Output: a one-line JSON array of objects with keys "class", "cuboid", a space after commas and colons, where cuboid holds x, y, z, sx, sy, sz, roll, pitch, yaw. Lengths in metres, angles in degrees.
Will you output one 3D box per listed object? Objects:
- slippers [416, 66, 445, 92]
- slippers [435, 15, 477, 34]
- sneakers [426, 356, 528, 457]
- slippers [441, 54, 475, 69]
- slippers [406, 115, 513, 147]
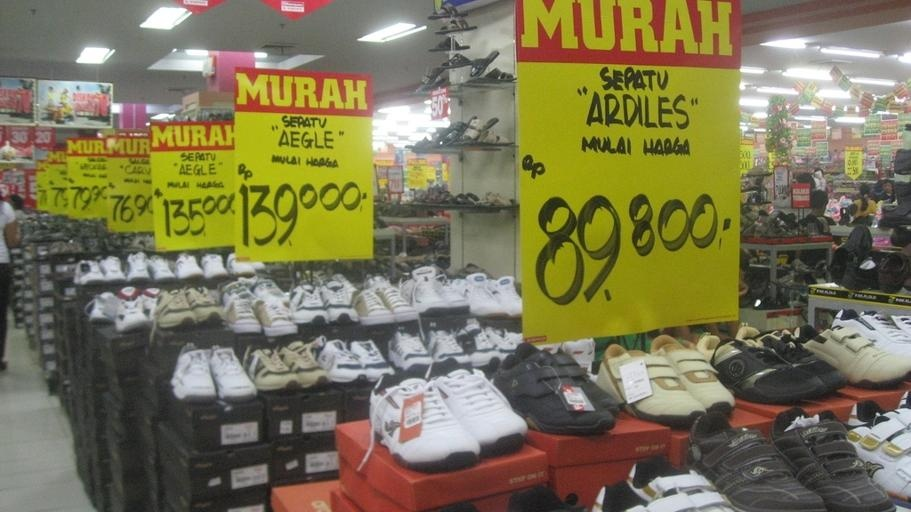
[{"class": "slippers", "cuboid": [-0.257, -2.105, 7.195, 0.205, 0.220, 0.550, -7, 12, -11]}, {"class": "slippers", "cuboid": [-0.002, -2.502, 6.575, 0.426, 0.131, 0.308, 2, 13, 23]}, {"class": "sneakers", "cuboid": [0.081, 0.717, 3.031, 0.256, 0.216, 0.583, -14, 21, -30]}, {"class": "slippers", "cuboid": [0.015, -2.109, 6.591, 0.178, 0.088, 0.239, -17, 17, -42]}, {"class": "slippers", "cuboid": [0.072, -1.331, 6.503, 0.997, 0.306, 0.402, 1, 8, 29]}]
